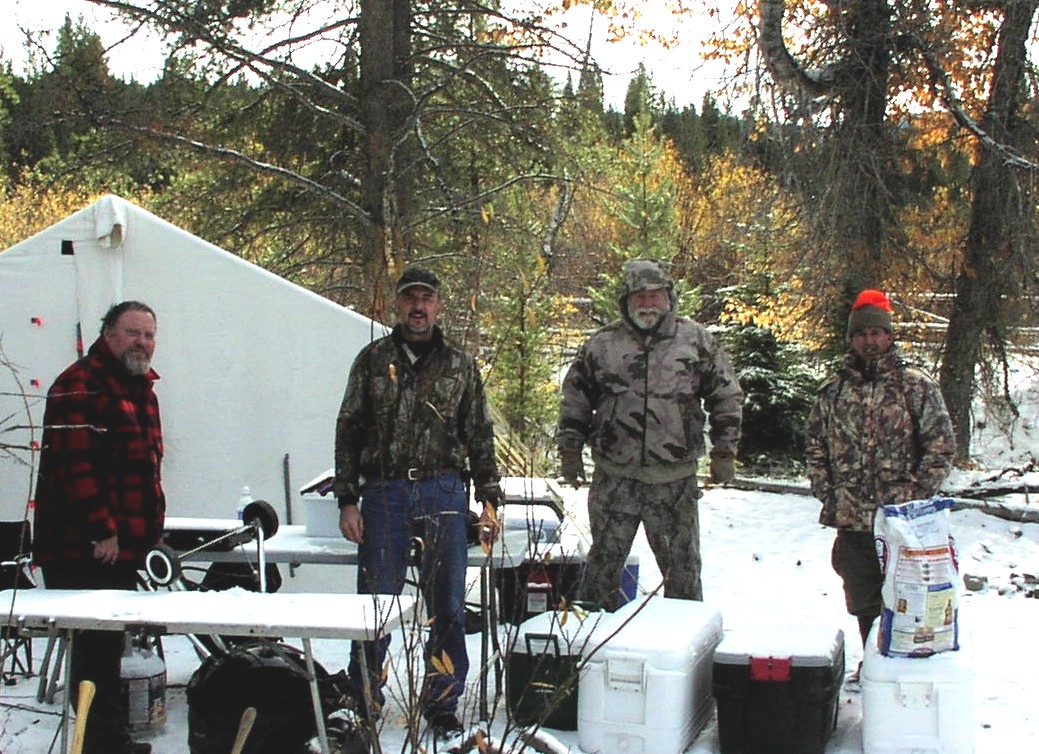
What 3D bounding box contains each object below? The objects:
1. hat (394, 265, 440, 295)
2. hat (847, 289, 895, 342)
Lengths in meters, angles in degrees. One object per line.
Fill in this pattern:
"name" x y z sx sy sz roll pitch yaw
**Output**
"hat" -0.620 -0.611 9.368 0.148 0.121 0.220 3 -21 -5
"hat" 2.247 -0.400 9.794 0.245 0.309 0.293 4 6 40
